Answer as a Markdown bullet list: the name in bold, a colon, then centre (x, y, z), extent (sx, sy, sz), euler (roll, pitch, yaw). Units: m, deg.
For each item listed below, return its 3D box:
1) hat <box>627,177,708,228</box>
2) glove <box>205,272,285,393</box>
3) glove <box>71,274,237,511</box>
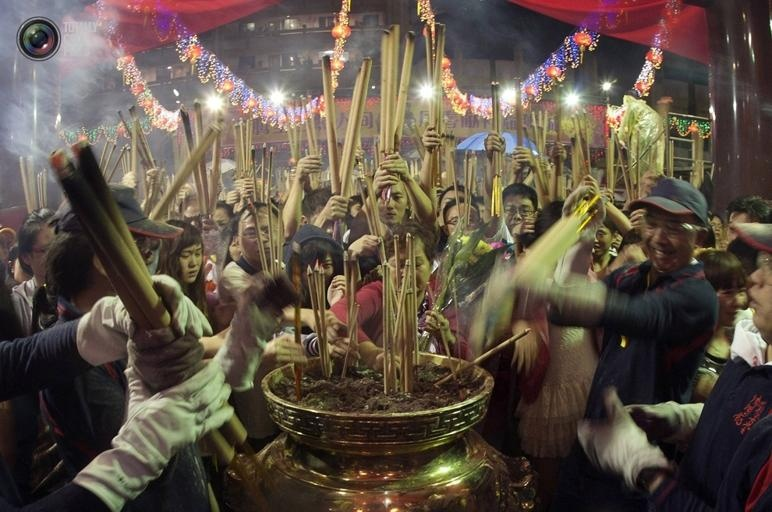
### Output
- **hat**: centre (1.088, -0.210, 2.353), extent (0.312, 0.170, 0.222), euler (18, -1, -28)
- **glove**: centre (-0.439, 0.218, 1.898), extent (0.177, 0.470, 0.174), euler (18, 30, -3)
- **glove**: centre (-0.590, 0.386, 1.831), extent (0.286, 0.673, 0.480), euler (8, -5, -45)
